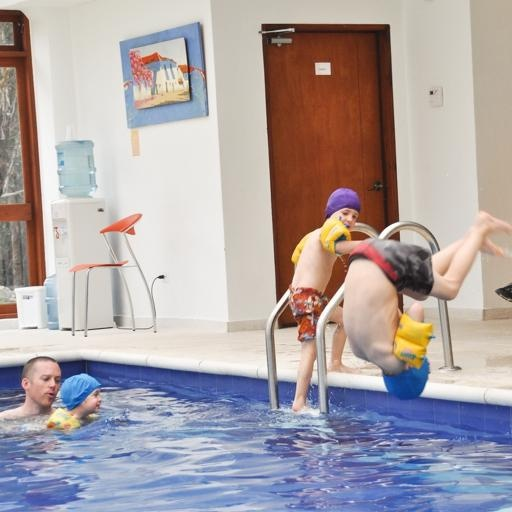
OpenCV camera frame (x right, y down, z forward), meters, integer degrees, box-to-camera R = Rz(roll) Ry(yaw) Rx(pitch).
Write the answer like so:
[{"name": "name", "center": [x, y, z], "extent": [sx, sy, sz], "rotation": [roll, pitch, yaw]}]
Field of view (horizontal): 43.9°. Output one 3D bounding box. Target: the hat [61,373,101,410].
[{"name": "hat", "center": [-0.928, 0.712, 3.374], "extent": [0.224, 0.182, 0.180], "rotation": [-5, -2, -29]}]

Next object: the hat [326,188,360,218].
[{"name": "hat", "center": [0.454, -0.289, 3.306], "extent": [0.161, 0.135, 0.159], "rotation": [7, -7, -40]}]

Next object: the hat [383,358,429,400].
[{"name": "hat", "center": [0.452, 0.357, 1.910], "extent": [0.143, 0.098, 0.140], "rotation": [-6, 0, 25]}]

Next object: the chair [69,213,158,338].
[{"name": "chair", "center": [-1.531, 0.190, 6.652], "extent": [0.913, 1.135, 1.139], "rotation": [-5, 2, -36]}]
